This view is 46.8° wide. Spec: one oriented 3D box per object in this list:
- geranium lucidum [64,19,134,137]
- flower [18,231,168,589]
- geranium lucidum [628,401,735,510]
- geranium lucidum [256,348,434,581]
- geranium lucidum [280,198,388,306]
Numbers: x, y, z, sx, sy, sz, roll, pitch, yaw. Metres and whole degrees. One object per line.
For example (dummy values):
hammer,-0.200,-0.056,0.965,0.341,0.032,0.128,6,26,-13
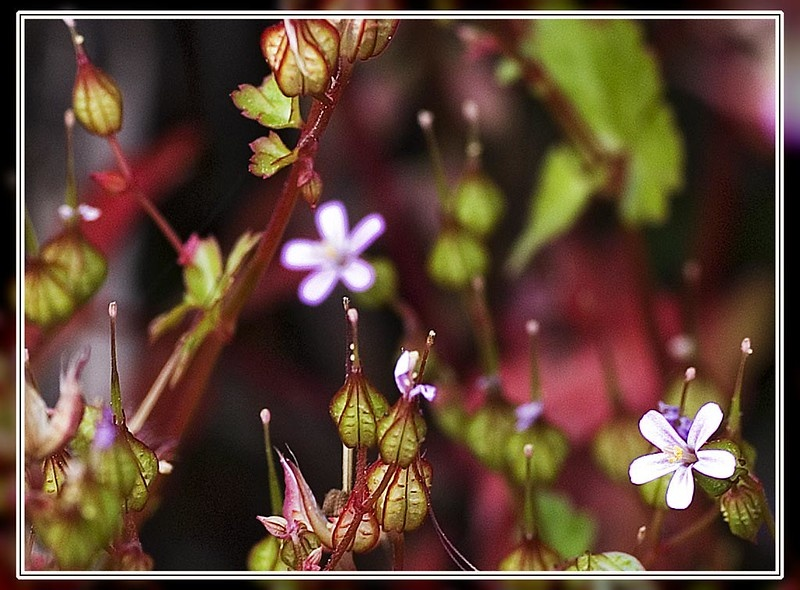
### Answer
geranium lucidum,-0.297,-0.211,0.895,0.054,0.114,0.018,0,11,19
flower,-0.299,0.141,0.902,0.144,0.259,0.041,-3,11,2
geranium lucidum,0.283,0.167,0.904,0.035,0.118,0.109,25,-23,6
geranium lucidum,-0.036,0.130,1.003,0.162,0.281,0.177,6,19,11
geranium lucidum,-0.060,-0.039,0.901,0.115,0.042,0.120,-22,-30,20
